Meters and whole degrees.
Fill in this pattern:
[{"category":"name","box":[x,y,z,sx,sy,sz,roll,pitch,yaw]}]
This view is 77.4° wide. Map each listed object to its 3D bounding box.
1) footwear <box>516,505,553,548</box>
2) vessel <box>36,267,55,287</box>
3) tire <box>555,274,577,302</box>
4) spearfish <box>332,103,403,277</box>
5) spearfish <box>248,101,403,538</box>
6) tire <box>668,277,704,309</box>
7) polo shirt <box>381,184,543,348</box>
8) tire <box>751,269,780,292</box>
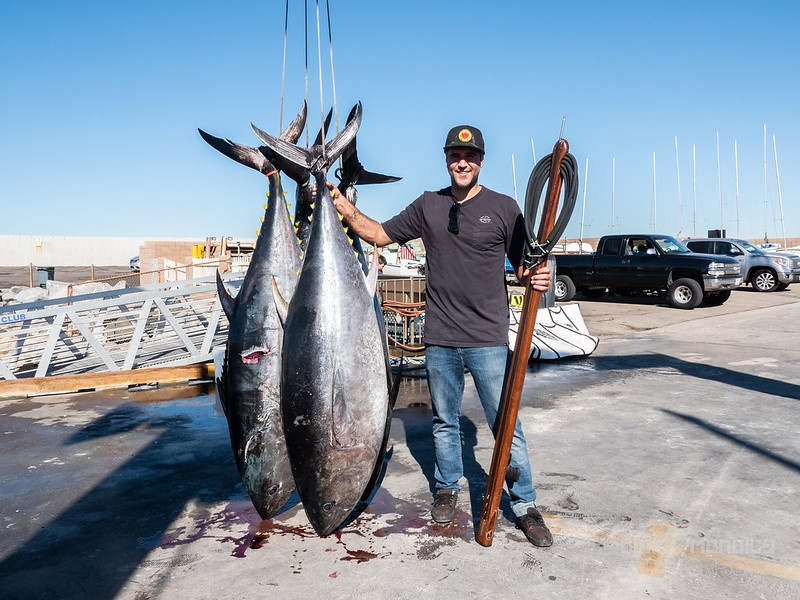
[{"category":"footwear","box":[0.839,1.434,3.106,0.108,0.114,0.259,-3,-7,-10]},{"category":"vessel","box":[-17.806,-1.217,25.142,0.621,0.646,12.861,-6,7,-35]},{"category":"tire","box":[5.358,-0.405,16.162,0.250,0.783,0.749,-6,18,-39]},{"category":"spearfish","box":[-0.315,-0.821,3.400,0.481,1.277,0.216,-4,-10,7]},{"category":"spearfish","box":[-0.421,0.148,2.927,0.619,2.610,0.419,-5,7,-32]},{"category":"tire","box":[8.304,-0.213,14.501,0.302,0.871,0.833,-2,5,-40]},{"category":"polo shirt","box":[0.382,-0.210,3.324,0.854,1.045,0.256,0,6,14]},{"category":"tire","box":[13.899,-0.745,18.915,0.744,0.783,0.269,10,11,37]}]
